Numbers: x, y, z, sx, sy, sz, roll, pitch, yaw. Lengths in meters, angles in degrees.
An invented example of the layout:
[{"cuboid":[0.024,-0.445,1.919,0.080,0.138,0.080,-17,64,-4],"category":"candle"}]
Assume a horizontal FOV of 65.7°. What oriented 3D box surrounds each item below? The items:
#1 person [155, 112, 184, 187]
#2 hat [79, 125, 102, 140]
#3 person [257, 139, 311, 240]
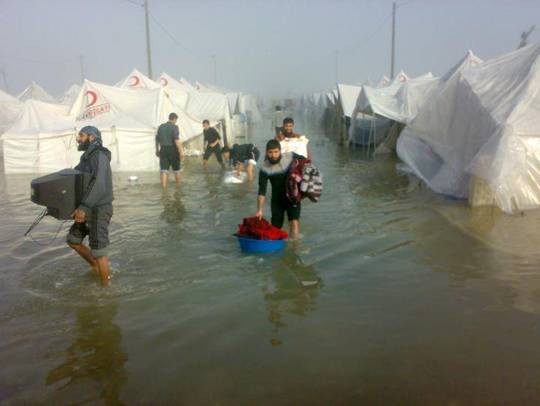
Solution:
[{"cuboid":[-2.824,-1.453,11.703,0.674,2.042,1.309,-6,14,-15],"category":"person"},{"cuboid":[-2.663,-1.071,6.267,0.289,0.252,0.224,-14,17,-32],"category":"hat"},{"cuboid":[0.191,-0.196,7.166,0.800,1.771,0.489,-1,13,5],"category":"person"}]
